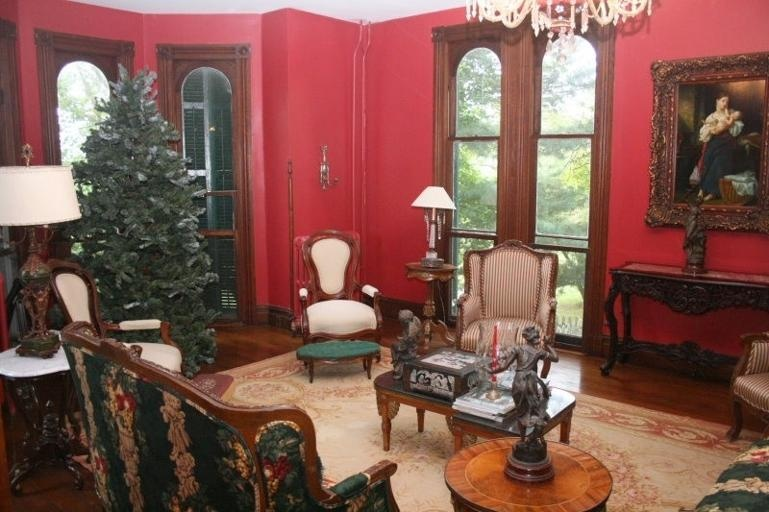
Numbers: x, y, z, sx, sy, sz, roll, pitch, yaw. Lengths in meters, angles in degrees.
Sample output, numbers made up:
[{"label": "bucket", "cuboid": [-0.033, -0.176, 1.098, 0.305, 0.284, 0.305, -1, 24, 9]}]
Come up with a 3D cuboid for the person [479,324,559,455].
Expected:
[{"label": "person", "cuboid": [0.870, 0.750, 3.590, 0.384, 0.727, 0.746, 1, 8, 11]}]

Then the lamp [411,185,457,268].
[{"label": "lamp", "cuboid": [0.608, -0.379, 6.985, 0.463, 0.926, 0.821, 0, 8, 7]}]

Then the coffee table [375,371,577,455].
[{"label": "coffee table", "cuboid": [0.546, 1.128, 4.517, 1.082, 0.466, 0.734, 6, 10, 44]}]

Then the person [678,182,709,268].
[{"label": "person", "cuboid": [3.075, -0.241, 5.691, 0.201, 0.776, 0.472, 4, 10, 28]}]
